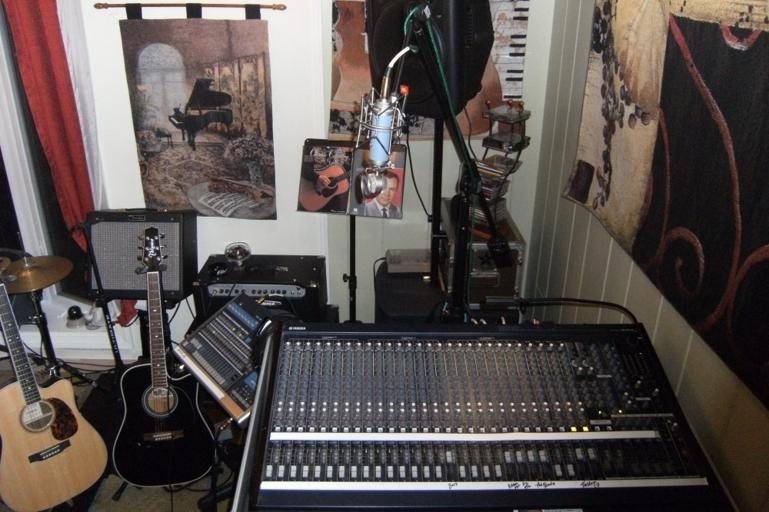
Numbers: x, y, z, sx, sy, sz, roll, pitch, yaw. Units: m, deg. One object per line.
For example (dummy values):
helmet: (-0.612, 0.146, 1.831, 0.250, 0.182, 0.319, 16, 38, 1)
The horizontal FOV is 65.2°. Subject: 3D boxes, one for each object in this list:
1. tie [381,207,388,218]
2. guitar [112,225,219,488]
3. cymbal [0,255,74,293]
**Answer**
tie: (0.005, -0.235, 3.208, 0.035, 0.050, 0.012, -1, 1, 14)
guitar: (-1.266, 0.569, 3.192, 0.538, 1.377, 0.397, -9, 21, -15)
cymbal: (-2.031, 0.106, 3.495, 0.267, 0.062, 0.270, 31, 39, 18)
